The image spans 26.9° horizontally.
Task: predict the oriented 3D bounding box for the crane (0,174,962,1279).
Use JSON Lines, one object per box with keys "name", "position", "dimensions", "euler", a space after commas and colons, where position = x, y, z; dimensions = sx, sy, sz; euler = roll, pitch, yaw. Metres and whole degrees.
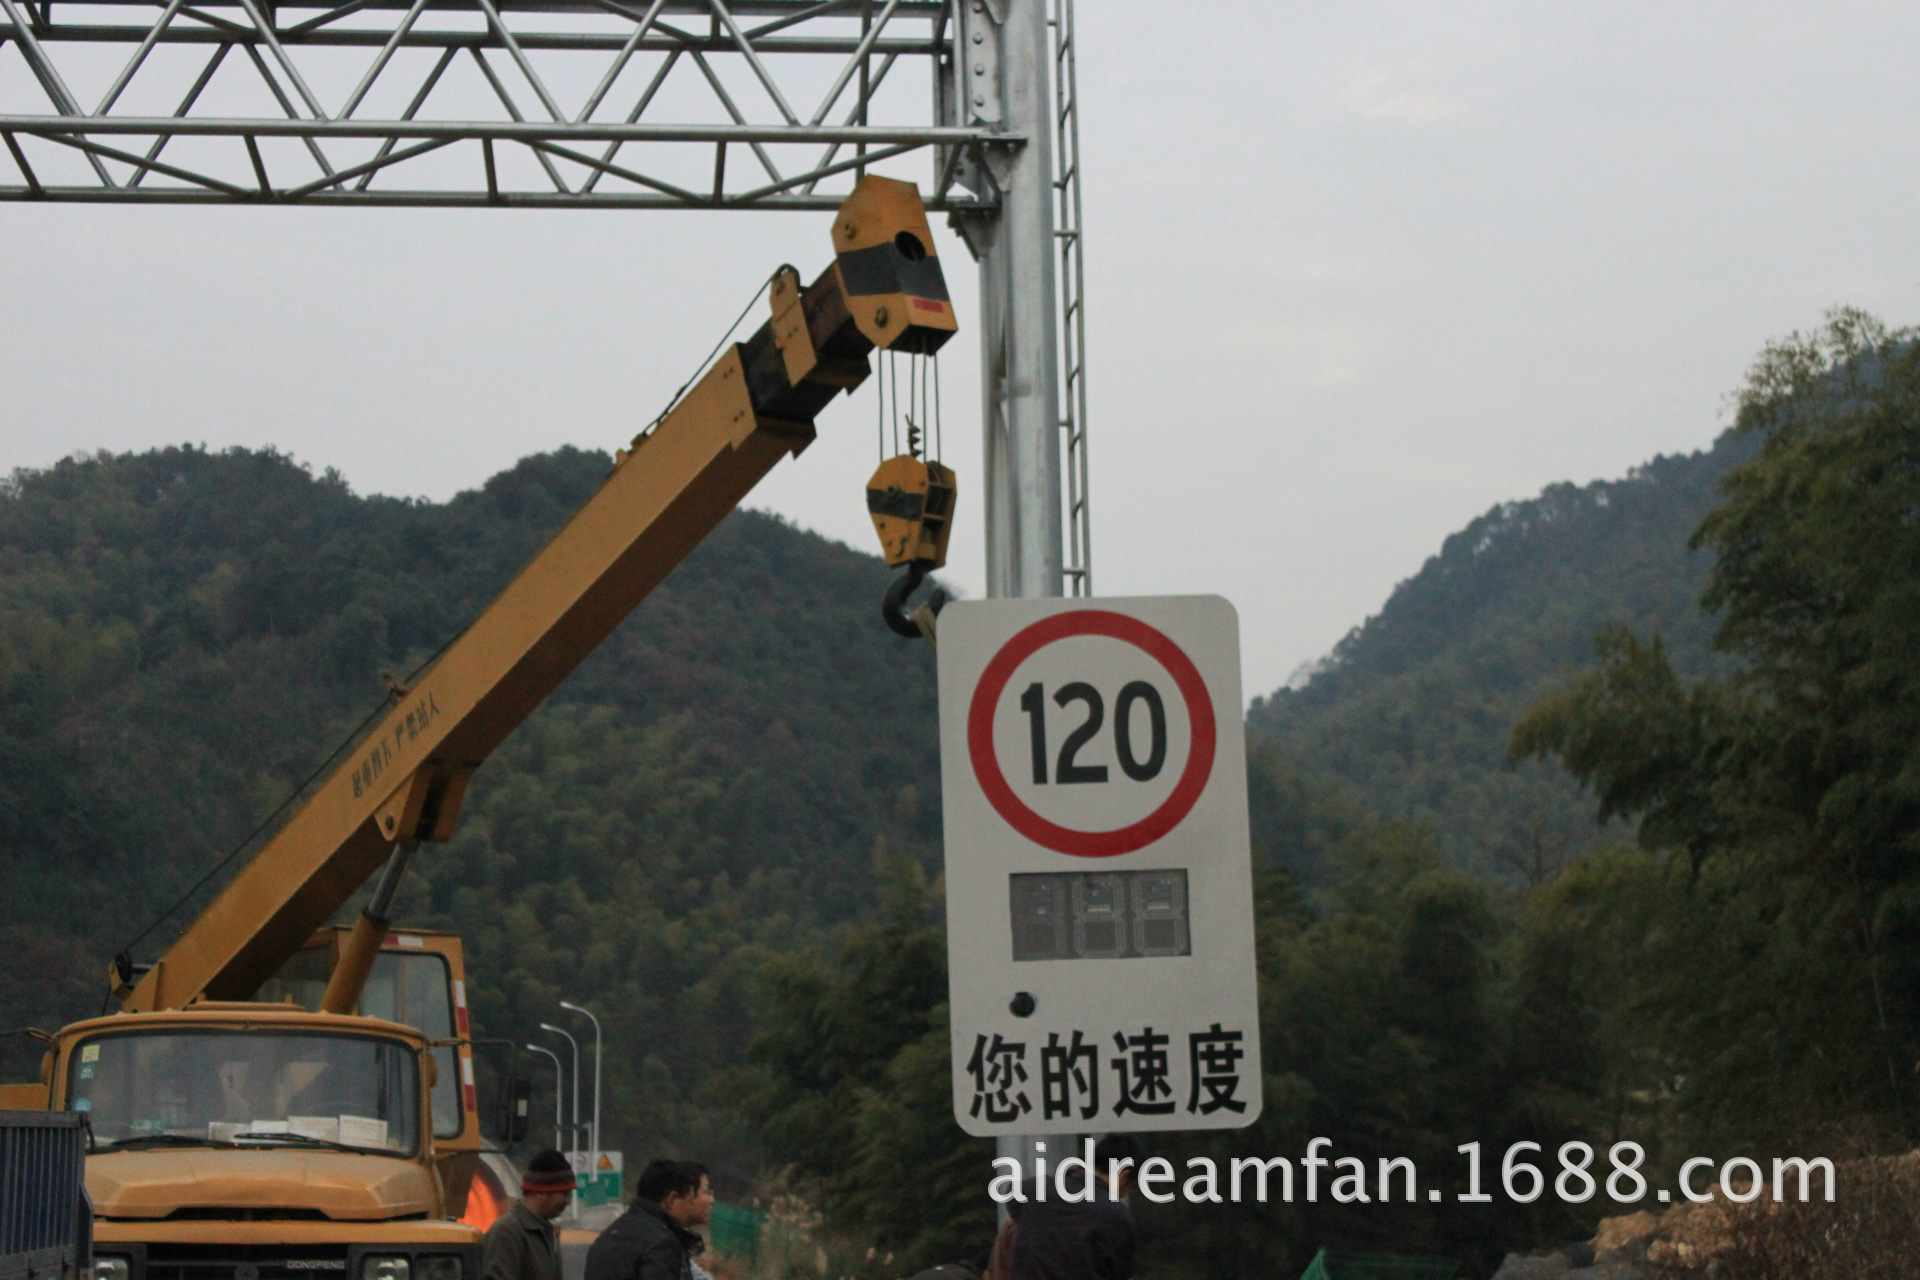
{"name": "crane", "position": [-9.023, 2.094, 75.192], "dimensions": [18.192, 19.792, 4.735], "euler": [-3, -15, 9]}
